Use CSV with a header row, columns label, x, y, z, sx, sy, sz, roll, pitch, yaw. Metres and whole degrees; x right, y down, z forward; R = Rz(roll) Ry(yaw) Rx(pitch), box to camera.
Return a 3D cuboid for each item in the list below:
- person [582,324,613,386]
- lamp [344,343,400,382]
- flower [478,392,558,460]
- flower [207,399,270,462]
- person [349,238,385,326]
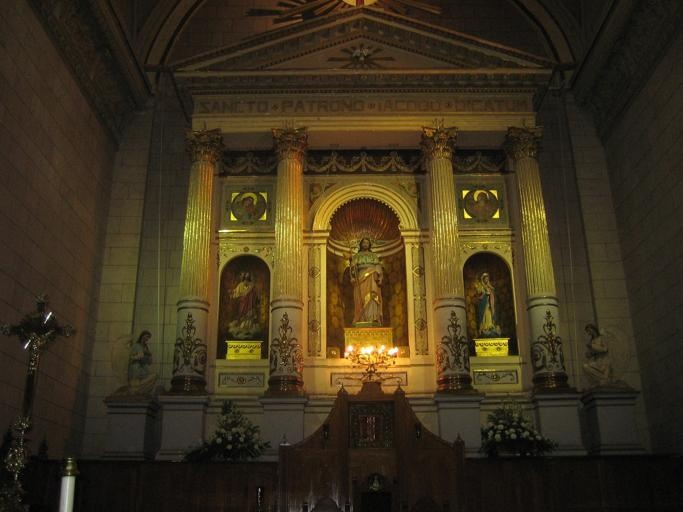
label,x,y,z,sx,sy,sz,roll,pitch,yaw
person,5.668,2.215,13.361,0.595,1.383,0.501,-11,-27,23
lamp,0.708,2.442,13.463,1.004,0.767,1.054,4,-2,-3
flower,3.464,3.503,11.866,1.073,0.721,1.123,-8,-23,28
flower,-2.120,3.627,12.142,1.113,1.331,1.295,1,-16,-27
person,0.620,0.652,14.706,0.776,2.239,0.467,1,-24,0
